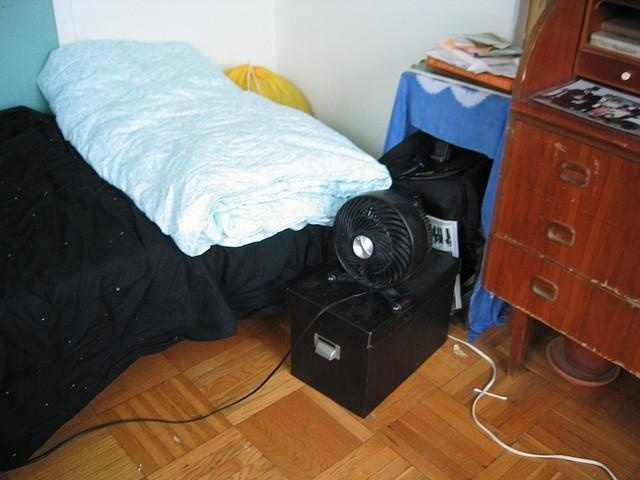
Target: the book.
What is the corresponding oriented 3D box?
[{"bbox_3d":[0.544,-0.646,1.825,0.286,0.093,0.310,14,41,12],"label":"book"}]
